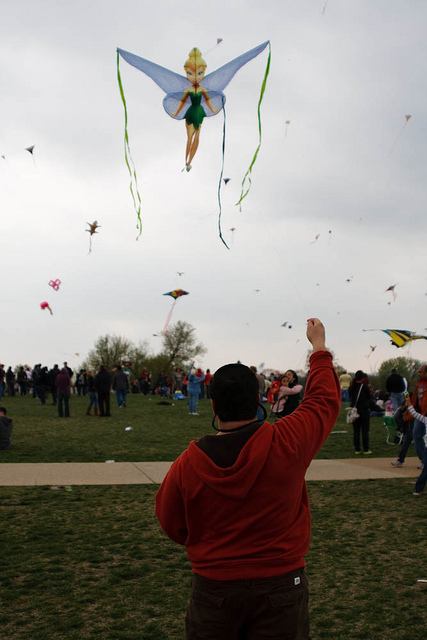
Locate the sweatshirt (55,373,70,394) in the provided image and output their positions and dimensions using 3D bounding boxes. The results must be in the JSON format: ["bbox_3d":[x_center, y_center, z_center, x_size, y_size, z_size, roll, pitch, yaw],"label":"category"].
[{"bbox_3d":[-3.870,1.653,16.035,0.507,0.673,0.342,1,-8,-15],"label":"sweatshirt"}]

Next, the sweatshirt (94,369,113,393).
[{"bbox_3d":[-2.928,1.634,16.476,0.432,0.606,0.708,2,-7,-11],"label":"sweatshirt"}]

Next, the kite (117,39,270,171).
[{"bbox_3d":[-0.226,-2.280,6.778,1.585,1.314,0.241,0,22,0],"label":"kite"}]

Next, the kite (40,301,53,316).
[{"bbox_3d":[-3.227,-0.242,11.960,0.170,0.130,0.318,-11,-43,25],"label":"kite"}]

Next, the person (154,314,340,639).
[{"bbox_3d":[0.135,0.514,2.159,0.662,1.088,0.339,1,-7,-5],"label":"person"}]
